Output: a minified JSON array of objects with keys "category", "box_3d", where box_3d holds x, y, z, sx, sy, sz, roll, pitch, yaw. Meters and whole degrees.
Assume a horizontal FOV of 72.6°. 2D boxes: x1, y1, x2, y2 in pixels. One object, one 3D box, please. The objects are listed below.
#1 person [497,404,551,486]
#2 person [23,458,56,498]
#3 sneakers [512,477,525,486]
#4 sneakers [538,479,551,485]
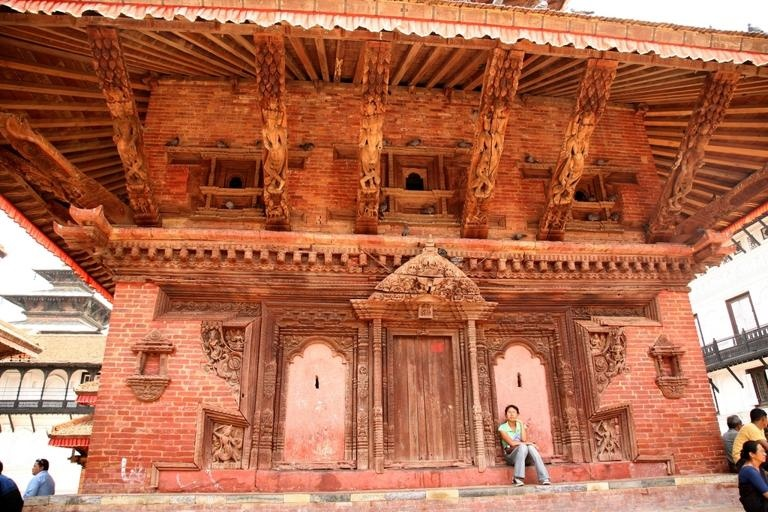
[{"category":"person","box_3d":[2.501,3.390,9.493,0.727,1.387,0.693,0,-26,-1]},{"category":"person","box_3d":[-6.880,4.420,10.563,0.447,0.660,0.719,13,-28,-27]},{"category":"sneakers","box_3d":[2.341,3.891,9.063,0.113,0.120,0.289,5,-17,-20]},{"category":"sneakers","box_3d":[2.778,3.893,9.043,0.195,0.095,0.225,-7,-24,13]}]
